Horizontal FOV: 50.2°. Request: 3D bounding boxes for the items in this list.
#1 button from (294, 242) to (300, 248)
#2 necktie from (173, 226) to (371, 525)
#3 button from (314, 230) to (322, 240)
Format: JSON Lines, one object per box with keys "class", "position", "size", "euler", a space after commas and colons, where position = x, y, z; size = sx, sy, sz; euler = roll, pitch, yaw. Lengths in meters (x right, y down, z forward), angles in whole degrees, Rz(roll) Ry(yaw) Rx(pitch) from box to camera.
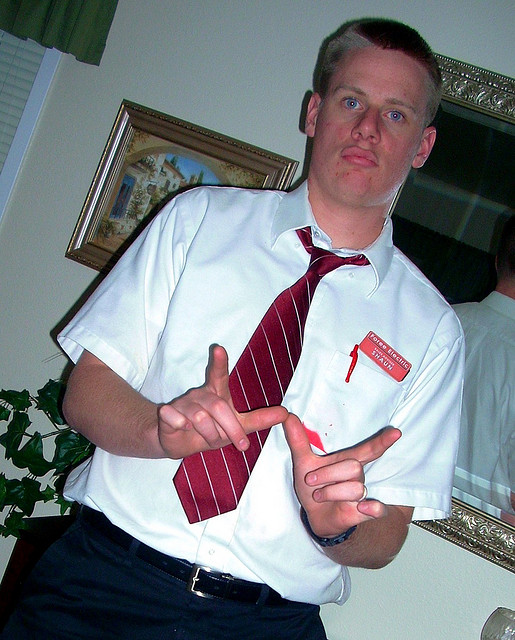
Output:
{"class": "button", "position": [0.080, -0.150, 1.094], "size": [0.015, 0.012, 0.003], "euler": [-2, 3, 3]}
{"class": "necktie", "position": [0.024, 0.090, 1.009], "size": [0.162, 0.552, 0.248], "euler": [25, 3, 7]}
{"class": "button", "position": [0.121, -0.172, 1.110], "size": [0.012, 0.016, 0.004], "euler": [-9, 16, 21]}
